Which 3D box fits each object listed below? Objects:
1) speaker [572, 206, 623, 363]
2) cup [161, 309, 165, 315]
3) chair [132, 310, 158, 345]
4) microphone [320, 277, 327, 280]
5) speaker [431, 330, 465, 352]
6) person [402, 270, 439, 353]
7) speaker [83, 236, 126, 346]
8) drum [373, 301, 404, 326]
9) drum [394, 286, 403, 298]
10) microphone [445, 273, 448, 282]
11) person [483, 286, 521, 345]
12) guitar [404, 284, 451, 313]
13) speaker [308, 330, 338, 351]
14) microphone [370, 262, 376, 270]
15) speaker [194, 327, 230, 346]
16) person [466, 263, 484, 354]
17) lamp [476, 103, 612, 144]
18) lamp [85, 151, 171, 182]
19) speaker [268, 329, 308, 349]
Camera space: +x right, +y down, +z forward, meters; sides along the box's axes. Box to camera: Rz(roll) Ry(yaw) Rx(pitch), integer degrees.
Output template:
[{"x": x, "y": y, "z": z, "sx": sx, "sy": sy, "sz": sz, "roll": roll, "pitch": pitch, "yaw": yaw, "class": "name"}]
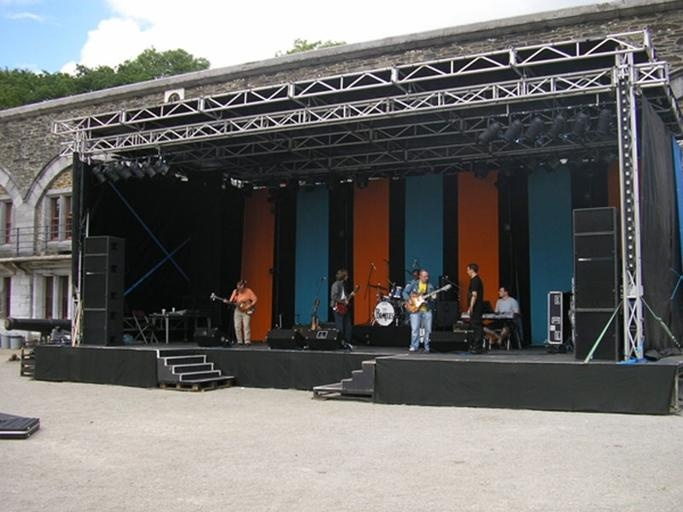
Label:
[{"x": 4.565, "y": 0.490, "z": 12.327, "sx": 0.740, "sy": 2.704, "sz": 0.538, "roll": 0, "pitch": 2, "yaw": 17, "class": "speaker"}, {"x": -4.713, "y": 1.480, "z": 18.207, "sx": 0.078, "sy": 0.094, "sz": 0.082, "roll": 2, "pitch": -1, "yaw": 0, "class": "cup"}, {"x": -5.306, "y": 1.904, "z": 18.583, "sx": 0.783, "sy": 1.128, "sz": 0.740, "roll": -4, "pitch": -5, "yaw": 39, "class": "chair"}, {"x": -0.538, "y": 0.684, "z": 20.955, "sx": 0.224, "sy": 0.099, "sz": 0.098, "roll": 1, "pitch": 2, "yaw": 32, "class": "microphone"}, {"x": 2.204, "y": 1.734, "z": 13.998, "sx": 0.645, "sy": 0.389, "sz": 0.458, "roll": -3, "pitch": -8, "yaw": 13, "class": "speaker"}, {"x": 1.732, "y": 1.172, "z": 15.176, "sx": 0.595, "sy": 1.834, "sz": 0.582, "roll": 2, "pitch": 23, "yaw": 9, "class": "person"}, {"x": -5.687, "y": 0.817, "z": 16.378, "sx": 0.922, "sy": 2.549, "sz": 0.649, "roll": -1, "pitch": 2, "yaw": -12, "class": "speaker"}, {"x": 1.185, "y": 1.484, "z": 17.761, "sx": 0.713, "sy": 0.776, "sz": 0.567, "roll": 3, "pitch": -5, "yaw": 37, "class": "drum"}, {"x": 1.468, "y": 0.920, "z": 17.796, "sx": 0.249, "sy": 0.267, "sz": 0.260, "roll": 4, "pitch": -20, "yaw": 0, "class": "drum"}, {"x": 2.899, "y": 0.611, "z": 18.901, "sx": 0.107, "sy": 0.159, "sz": 0.046, "roll": 0, "pitch": -11, "yaw": -3, "class": "microphone"}, {"x": 3.983, "y": 1.529, "z": 17.165, "sx": 0.836, "sy": 1.540, "sz": 0.938, "roll": -1, "pitch": -6, "yaw": 25, "class": "person"}, {"x": 1.795, "y": 0.983, "z": 15.136, "sx": 0.743, "sy": 0.487, "sz": 0.483, "roll": 0, "pitch": 2, "yaw": -1, "class": "guitar"}, {"x": -0.382, "y": 1.753, "z": 14.834, "sx": 0.650, "sy": 0.442, "sz": 0.495, "roll": -8, "pitch": -26, "yaw": 26, "class": "speaker"}, {"x": 0.960, "y": 0.291, "z": 20.453, "sx": 0.151, "sy": 0.214, "sz": 0.088, "roll": 0, "pitch": 2, "yaw": 24, "class": "microphone"}, {"x": -3.050, "y": 1.924, "z": 16.194, "sx": 0.794, "sy": 0.426, "sz": 0.404, "roll": 0, "pitch": 2, "yaw": 3, "class": "speaker"}, {"x": 2.836, "y": 1.085, "z": 14.519, "sx": 0.311, "sy": 1.805, "sz": 0.973, "roll": 0, "pitch": 2, "yaw": 11, "class": "person"}, {"x": 4.420, "y": -2.942, "z": 15.037, "sx": 2.395, "sy": 0.818, "sz": 0.605, "roll": -3, "pitch": -26, "yaw": 46, "class": "lamp"}, {"x": -5.374, "y": -2.189, "z": 17.437, "sx": 1.808, "sy": 0.796, "sz": 0.587, "roll": -4, "pitch": 23, "yaw": 2, "class": "lamp"}, {"x": -1.135, "y": 1.851, "z": 15.374, "sx": 0.616, "sy": 0.513, "sz": 0.475, "roll": -1, "pitch": -1, "yaw": 25, "class": "speaker"}]
